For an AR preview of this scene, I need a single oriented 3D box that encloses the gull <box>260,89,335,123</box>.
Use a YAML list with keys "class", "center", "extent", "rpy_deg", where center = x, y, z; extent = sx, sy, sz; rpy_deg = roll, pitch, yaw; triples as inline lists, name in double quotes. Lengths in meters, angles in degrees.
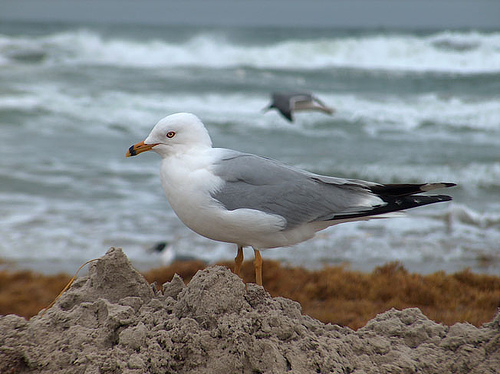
- class: "gull"
  center: [0.713, -1.276, 16.525]
  extent: [1.078, 0.323, 0.981]
  rpy_deg: [-12, -10, 12]
